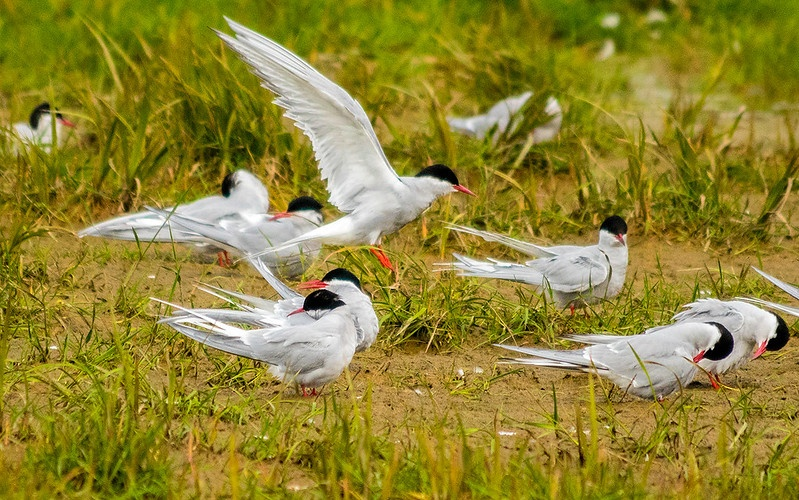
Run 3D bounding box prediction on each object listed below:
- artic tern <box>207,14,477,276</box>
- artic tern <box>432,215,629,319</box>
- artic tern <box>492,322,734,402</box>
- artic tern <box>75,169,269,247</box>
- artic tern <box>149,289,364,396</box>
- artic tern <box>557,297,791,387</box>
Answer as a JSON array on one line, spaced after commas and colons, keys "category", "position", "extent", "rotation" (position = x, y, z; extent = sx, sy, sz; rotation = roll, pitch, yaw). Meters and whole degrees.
[{"category": "artic tern", "position": [-0.355, -0.788, 7.446], "extent": [1.865, 2.250, 1.334], "rotation": [-17, 86, 11]}, {"category": "artic tern", "position": [0.915, 0.069, 7.195], "extent": [1.439, 0.627, 0.796], "rotation": [8, 98, 0]}, {"category": "artic tern", "position": [1.507, 0.746, 6.402], "extent": [1.616, 0.612, 0.494], "rotation": [2, 12, 23]}, {"category": "artic tern", "position": [-1.658, -0.272, 7.334], "extent": [1.586, 0.434, 0.671], "rotation": [2, 78, -50]}, {"category": "artic tern", "position": [-0.915, 0.571, 6.192], "extent": [1.284, 0.482, 0.662], "rotation": [4, 87, 4]}, {"category": "artic tern", "position": [1.877, 0.597, 6.462], "extent": [1.439, 0.422, 0.536], "rotation": [9, 86, 2]}]
